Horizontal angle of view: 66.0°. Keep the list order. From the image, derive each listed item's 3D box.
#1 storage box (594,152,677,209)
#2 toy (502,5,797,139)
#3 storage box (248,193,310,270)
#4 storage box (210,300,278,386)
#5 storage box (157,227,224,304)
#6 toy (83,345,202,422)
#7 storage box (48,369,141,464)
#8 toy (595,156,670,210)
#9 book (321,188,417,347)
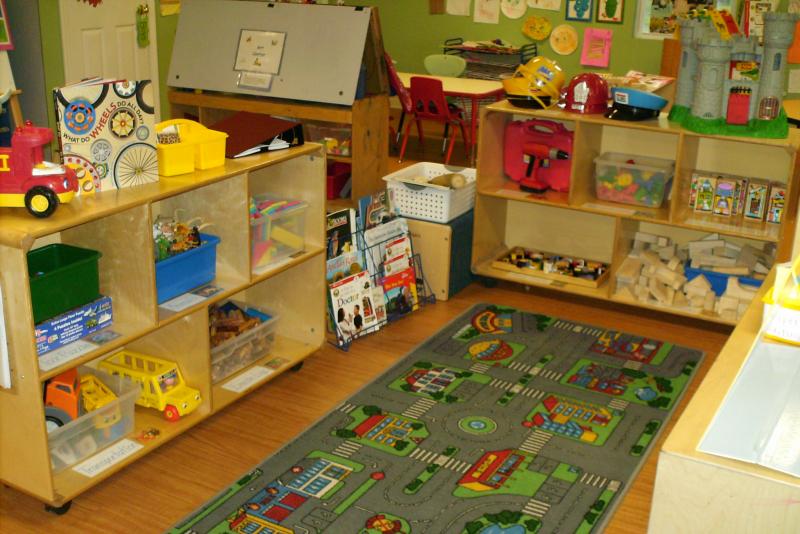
[{"bbox_3d":[1.658,-0.627,4.395,0.516,0.282,0.337,8,20,24],"label":"storage box"},{"bbox_3d":[2.046,-1.322,4.220,0.865,0.924,0.814,10,23,32],"label":"toy"},{"bbox_3d":[-0.825,-0.224,3.696,0.320,0.383,0.429,18,23,38],"label":"storage box"},{"bbox_3d":[-0.968,0.442,3.612,0.328,0.196,0.474,9,17,29],"label":"storage box"},{"bbox_3d":[-1.099,-0.006,3.177,0.253,0.170,0.383,17,28,34],"label":"storage box"},{"bbox_3d":[-1.296,0.606,3.135,0.468,0.193,0.177,13,26,18],"label":"toy"},{"bbox_3d":[-1.492,0.750,3.011,0.313,0.159,0.442,15,28,26],"label":"storage box"},{"bbox_3d":[1.648,-0.617,4.356,0.512,0.268,0.332,9,20,24],"label":"toy"},{"bbox_3d":[-0.209,0.040,4.154,0.368,0.835,0.937,7,20,28],"label":"book"}]
